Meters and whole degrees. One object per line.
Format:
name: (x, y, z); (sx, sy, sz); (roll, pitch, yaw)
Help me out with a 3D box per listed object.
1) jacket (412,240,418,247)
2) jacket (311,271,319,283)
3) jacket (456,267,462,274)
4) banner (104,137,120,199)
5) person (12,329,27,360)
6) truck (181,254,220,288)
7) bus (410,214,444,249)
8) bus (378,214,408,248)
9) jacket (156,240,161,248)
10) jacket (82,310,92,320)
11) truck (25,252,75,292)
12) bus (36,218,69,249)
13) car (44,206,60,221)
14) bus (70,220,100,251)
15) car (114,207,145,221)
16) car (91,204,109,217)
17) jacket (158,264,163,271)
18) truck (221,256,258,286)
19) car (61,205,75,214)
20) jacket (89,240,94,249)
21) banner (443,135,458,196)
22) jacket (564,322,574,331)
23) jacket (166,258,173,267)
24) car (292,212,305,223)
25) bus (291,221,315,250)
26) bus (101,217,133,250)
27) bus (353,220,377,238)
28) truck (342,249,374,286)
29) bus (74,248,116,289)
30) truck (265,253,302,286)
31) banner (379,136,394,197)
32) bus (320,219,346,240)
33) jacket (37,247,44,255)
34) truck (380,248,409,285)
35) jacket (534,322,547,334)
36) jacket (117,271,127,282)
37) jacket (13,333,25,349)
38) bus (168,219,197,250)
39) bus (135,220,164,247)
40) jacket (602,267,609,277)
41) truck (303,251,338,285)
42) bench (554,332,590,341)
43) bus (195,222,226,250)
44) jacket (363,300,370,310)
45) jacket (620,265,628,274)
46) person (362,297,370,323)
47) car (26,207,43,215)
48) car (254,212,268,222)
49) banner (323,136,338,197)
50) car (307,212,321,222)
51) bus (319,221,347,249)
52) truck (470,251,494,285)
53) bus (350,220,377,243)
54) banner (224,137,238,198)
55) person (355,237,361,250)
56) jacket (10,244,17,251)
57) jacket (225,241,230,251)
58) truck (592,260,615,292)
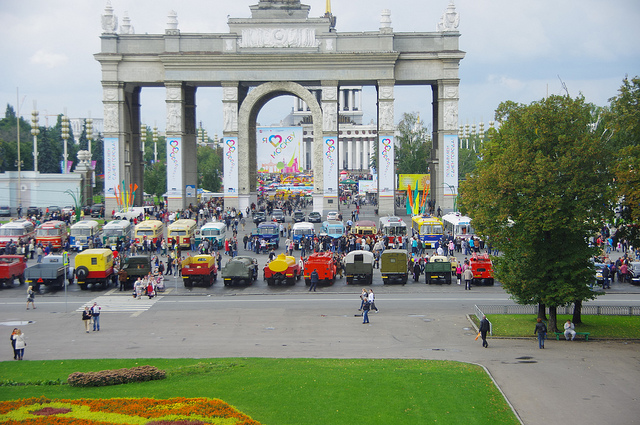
jacket: (9.514, 3.105, 125.890); (0.630, 0.853, 0.471); (1, -2, -4)
jacket: (-0.491, 5.833, 113.593); (0.629, 1.012, 1.250); (0, 1, -1)
jacket: (12.857, 5.365, 116.302); (0.574, 0.745, 0.426); (-2, 6, 7)
banner: (-26.282, -5.778, 158.245); (1.796, 7.613, 1.211); (0, 1, -9)
person: (-23.095, 10.179, 96.752); (0.733, 2.309, 1.540); (0, 1, 5)
truck: (-11.195, 5.296, 117.266); (2.534, 2.693, 5.690); (0, 2, 3)
bus: (11.217, 2.057, 131.803); (3.340, 3.405, 10.247); (0, 1, 1)
bus: (7.731, 2.043, 133.816); (3.474, 4.341, 12.030); (0, 0, 1)
jacket: (-16.713, 3.217, 129.444); (0.431, 0.805, 1.540); (-1, 1, -12)
jacket: (-18.788, 8.314, 101.454); (0.505, 0.802, 0.951); (0, 1, 27)
truck: (-24.948, 5.500, 115.463); (3.583, 2.908, 6.503); (-1, 4, 5)
bus: (-28.419, 2.803, 133.104); (2.662, 3.060, 7.624); (-1, -3, -2)
car: (-32.357, 0.066, 152.517); (1.994, 1.935, 3.420); (0, -11, -15)
bus: (-25.205, 2.291, 132.936); (2.605, 2.773, 7.225); (0, 5, -7)
car: (-21.880, -0.002, 144.832); (3.067, 1.404, 1.697); (1, 1, -11)
car: (-27.737, -0.239, 157.869); (1.420, 1.250, 2.606); (0, -6, -8)
jacket: (-14.783, 5.083, 116.184); (0.590, 0.795, 0.447); (0, -8, -3)
truck: (-7.436, 5.263, 117.422); (2.930, 2.514, 4.945); (1, 7, 11)
car: (-31.217, -0.451, 155.073); (1.181, 0.939, 2.564); (-1, -1, -9)
jacket: (-23.337, 3.185, 127.584); (0.356, 0.681, 1.056); (-1, 1, -13)
banner: (16.479, -6.034, 158.965); (1.750, 7.627, 1.805); (0, 1, 6)
jacket: (19.879, 9.105, 100.019); (0.737, 0.616, 0.937); (0, 1, 11)
jacket: (-14.297, 4.749, 119.504); (0.412, 0.871, 0.928); (0, 1, -6)
car: (-2.482, 0.498, 144.028); (1.161, 1.015, 2.411); (-1, -4, -1)
bus: (-2.773, 2.595, 133.917); (2.591, 2.932, 4.645); (1, 0, -26)
bus: (-21.047, 2.529, 133.541); (2.654, 2.725, 7.575); (-1, 3, 8)
bus: (4.739, 1.763, 133.821); (1.714, 1.611, 3.328); (0, -2, 2)
truck: (3.103, 5.675, 116.970); (2.391, 2.974, 4.873); (0, -13, -11)
bus: (-20.913, 5.520, 115.871); (3.031, 3.235, 5.692); (-2, -3, 1)
truck: (-3.419, 5.213, 117.004); (2.886, 2.804, 5.446); (0, 3, 8)
banner: (8.265, -6.099, 159.002); (2.810, 8.536, 2.124); (0, 5, 2)
bus: (1.384, 1.834, 134.239); (2.084, 1.357, 4.346); (0, 0, 1)
jacket: (-28.018, 3.860, 125.443); (0.495, 0.863, 0.653); (-2, 3, -27)
truck: (6.804, 4.803, 114.705); (1.709, 2.043, 3.344); (0, 6, 6)
jacket: (17.404, 9.198, 98.894); (0.925, 1.061, 2.342); (0, 1, 9)
jacket: (-17.905, 5.737, 113.635); (1.241, 1.299, 0.716); (0, -3, -11)
jacket: (-23.089, 9.926, 96.426); (1.356, 1.328, 0.832); (0, 3, -8)
bus: (-14.653, 2.316, 131.213); (1.737, 3.087, 4.137); (0, 1, 23)
bus: (-17.884, 2.419, 131.455); (2.129, 2.132, 4.323); (8, 3, 10)
jacket: (25.770, 5.413, 113.170); (0.496, 0.813, 0.429); (0, 1, 11)
truck: (0.119, 4.940, 117.192); (2.762, 2.530, 5.440); (-1, 9, 8)
bench: (20.131, 9.899, 99.874); (2.661, 0.607, 0.673); (0, 1, 5)
bus: (-11.733, 1.991, 133.487); (2.191, 2.452, 6.350); (0, 12, -5)
jacket: (3.829, 7.676, 103.160); (0.421, 0.589, 0.563); (2, -3, 16)
jacket: (28.243, 5.263, 116.365); (1.044, 1.029, 0.592); (-1, -2, 17)
person: (3.780, 8.081, 103.218); (0.533, 1.976, 0.756); (0, 1, 9)
car: (-35.334, -0.229, 154.786); (1.575, 0.896, 0.933); (-5, 4, -7)
car: (-6.970, 0.486, 145.914); (1.125, 0.835, 2.456); (-1, -4, 2)
banner: (1.303, -5.893, 158.185); (1.846, 7.691, 1.231); (0, 1, -3)
car: (-0.709, 0.475, 147.016); (1.024, 0.776, 2.128); (-1, -6, -2)
bus: (1.608, 3.068, 135.760); (2.199, 3.434, 7.013); (0, -9, -1)
truck: (14.897, 5.299, 115.306); (2.066, 2.710, 2.281); (0, 1, 7)
bus: (4.596, 2.043, 132.519); (1.986, 1.761, 3.559); (1, 4, 0)
banner: (-11.255, -5.775, 158.077); (1.705, 7.615, 0.758); (0, 1, -4)
person: (3.882, 3.186, 127.591); (0.493, 0.931, 1.315); (0, 1, 0)
jacket: (-30.978, 3.552, 127.023); (0.437, 0.589, 0.976); (0, 1, 20)
jacket: (-9.432, 3.376, 127.440); (0.334, 0.965, 0.879); (0, 1, -9)
truck: (26.073, 5.960, 114.407); (1.581, 2.318, 5.759); (0, 1, 15)
